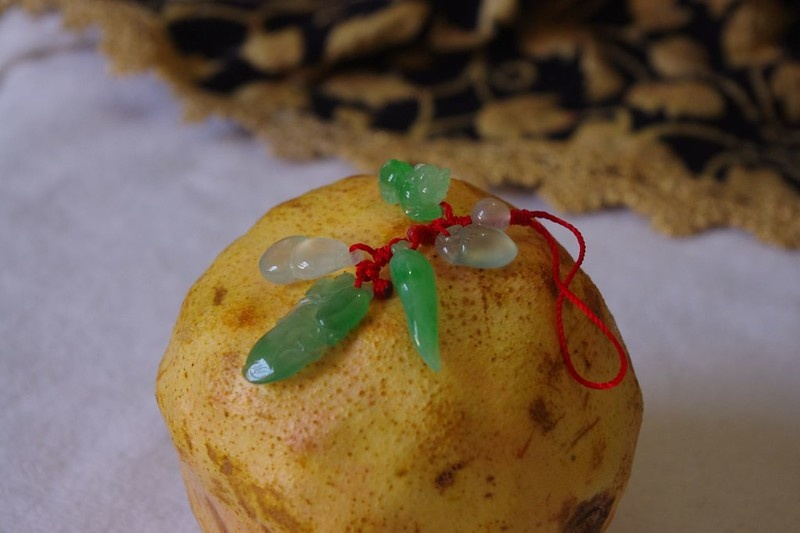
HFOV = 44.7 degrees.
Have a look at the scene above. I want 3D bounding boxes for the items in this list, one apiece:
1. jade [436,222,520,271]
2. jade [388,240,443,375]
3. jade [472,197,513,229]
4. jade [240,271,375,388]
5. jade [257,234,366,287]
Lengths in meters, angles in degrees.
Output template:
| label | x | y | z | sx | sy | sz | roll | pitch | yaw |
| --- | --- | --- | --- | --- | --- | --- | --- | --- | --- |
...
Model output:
| label | x | y | z | sx | sy | sz | roll | pitch | yaw |
| --- | --- | --- | --- | --- | --- | --- | --- | --- | --- |
| jade | 0.149 | -0.042 | 1.915 | 0.117 | 0.049 | 0.092 | 20 | 51 | 20 |
| jade | 0.038 | 0.069 | 1.912 | 0.086 | 0.075 | 0.301 | -5 | 54 | -17 |
| jade | 0.185 | -0.106 | 1.963 | 0.061 | 0.035 | 0.062 | -35 | 61 | -21 |
| jade | -0.182 | 0.126 | 1.882 | 0.141 | 0.056 | 0.260 | 39 | 73 | 22 |
| jade | -0.186 | -0.021 | 1.915 | 0.157 | 0.041 | 0.104 | 0 | 65 | -2 |
